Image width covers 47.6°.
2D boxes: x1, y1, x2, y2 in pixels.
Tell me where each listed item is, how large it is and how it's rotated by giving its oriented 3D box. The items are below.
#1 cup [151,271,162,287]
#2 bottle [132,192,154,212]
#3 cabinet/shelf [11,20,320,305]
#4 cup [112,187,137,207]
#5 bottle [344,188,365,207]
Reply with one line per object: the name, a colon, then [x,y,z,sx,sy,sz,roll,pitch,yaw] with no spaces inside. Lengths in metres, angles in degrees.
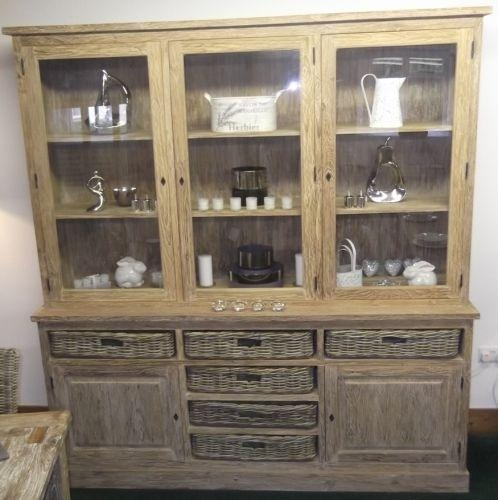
cup: [-0.395,0.132,2.478,0.082,0.057,0.061,0,9,-6]
bottle: [-0.450,-0.198,2.471,0.113,0.082,0.062,3,9,5]
cabinet/shelf: [-0.300,-0.387,2.365,1.631,1.165,0.462,0,12,1]
cup: [-0.534,-0.237,2.485,0.094,0.062,0.104,3,5,16]
bottle: [0.445,-0.216,2.362,0.086,0.059,0.084,0,9,0]
